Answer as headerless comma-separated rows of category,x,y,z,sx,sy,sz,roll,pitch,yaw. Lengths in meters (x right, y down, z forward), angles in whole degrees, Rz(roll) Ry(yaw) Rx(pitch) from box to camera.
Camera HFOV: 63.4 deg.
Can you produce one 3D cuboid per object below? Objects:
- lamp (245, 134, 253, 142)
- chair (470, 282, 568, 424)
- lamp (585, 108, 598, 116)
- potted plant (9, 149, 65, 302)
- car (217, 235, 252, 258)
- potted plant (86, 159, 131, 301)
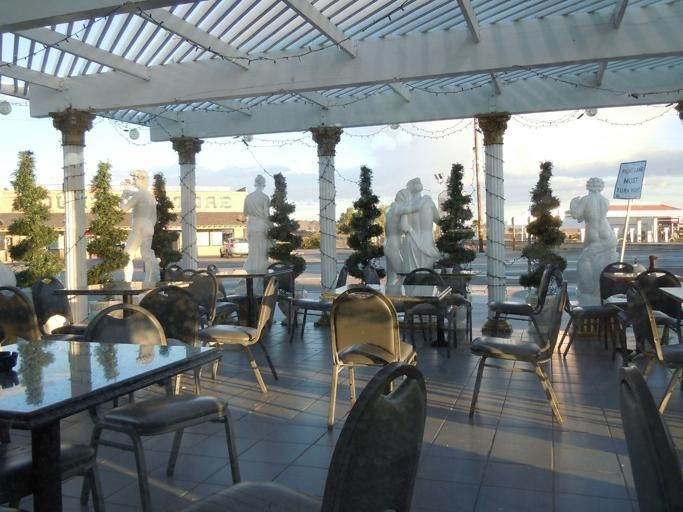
lamp,-2.013,-2.569,12.032,0.151,0.126,0.051,-2,-1,0
chair,1.899,0.834,5.800,0.824,1.332,2.503,2,7,20
lamp,4.712,-2.664,10.296,0.189,0.136,0.250,3,8,32
potted plant,-7.407,-0.882,13.093,0.929,3.155,1.210,0,7,8
car,-6.820,-0.467,35.084,1.600,1.177,2.597,-2,6,-13
potted plant,-5.227,-0.765,12.184,0.855,2.642,1.492,-4,7,-21
